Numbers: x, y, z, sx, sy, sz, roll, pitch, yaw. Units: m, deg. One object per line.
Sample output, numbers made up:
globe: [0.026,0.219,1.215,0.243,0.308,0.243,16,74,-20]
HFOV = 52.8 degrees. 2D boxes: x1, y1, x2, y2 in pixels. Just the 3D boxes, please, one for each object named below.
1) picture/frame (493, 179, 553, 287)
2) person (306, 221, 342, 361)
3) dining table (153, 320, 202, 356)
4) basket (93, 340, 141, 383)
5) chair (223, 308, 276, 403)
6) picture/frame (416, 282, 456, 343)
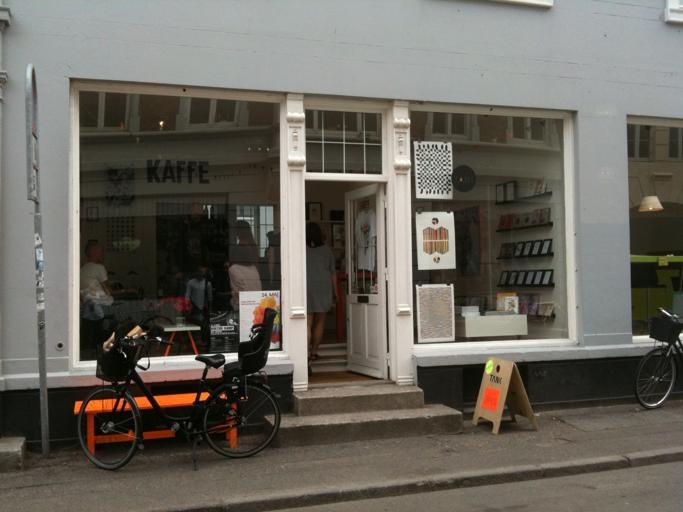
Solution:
picture/frame: [2.855,-0.358,10.690,0.944,1.633,0.282,-2,5,-18]
person: [-0.343,0.578,11.274,0.475,2.266,0.829,0,5,-3]
dining table: [-2.218,1.180,9.444,0.622,0.402,0.634,-8,-10,35]
basket: [-2.564,1.208,7.875,0.487,0.522,0.389,5,-5,-29]
chair: [-1.068,1.183,8.232,0.827,1.304,0.865,2,-4,-8]
picture/frame: [1.365,0.864,10.192,0.816,1.197,0.087,1,-6,-20]
